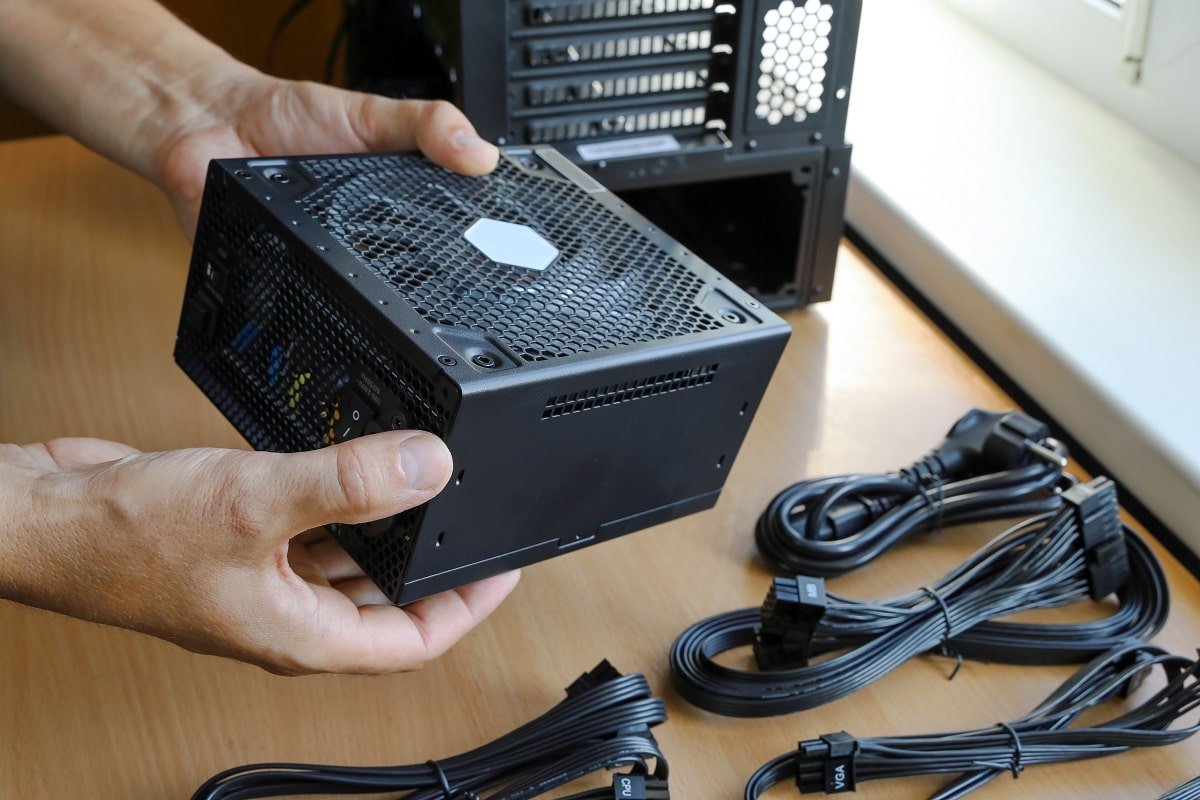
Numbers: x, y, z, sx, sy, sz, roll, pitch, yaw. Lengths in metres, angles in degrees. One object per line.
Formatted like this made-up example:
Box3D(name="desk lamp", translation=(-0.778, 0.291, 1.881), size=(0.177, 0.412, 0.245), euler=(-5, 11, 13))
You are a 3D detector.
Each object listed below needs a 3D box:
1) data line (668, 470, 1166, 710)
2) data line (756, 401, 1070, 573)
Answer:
Box3D(name="data line", translation=(0.352, 0.248, 1.154), size=(0.548, 0.126, 0.215), euler=(-11, 43, -14))
Box3D(name="data line", translation=(0.318, 0.037, 1.153), size=(0.292, 0.088, 0.164), euler=(-16, 27, -13))
